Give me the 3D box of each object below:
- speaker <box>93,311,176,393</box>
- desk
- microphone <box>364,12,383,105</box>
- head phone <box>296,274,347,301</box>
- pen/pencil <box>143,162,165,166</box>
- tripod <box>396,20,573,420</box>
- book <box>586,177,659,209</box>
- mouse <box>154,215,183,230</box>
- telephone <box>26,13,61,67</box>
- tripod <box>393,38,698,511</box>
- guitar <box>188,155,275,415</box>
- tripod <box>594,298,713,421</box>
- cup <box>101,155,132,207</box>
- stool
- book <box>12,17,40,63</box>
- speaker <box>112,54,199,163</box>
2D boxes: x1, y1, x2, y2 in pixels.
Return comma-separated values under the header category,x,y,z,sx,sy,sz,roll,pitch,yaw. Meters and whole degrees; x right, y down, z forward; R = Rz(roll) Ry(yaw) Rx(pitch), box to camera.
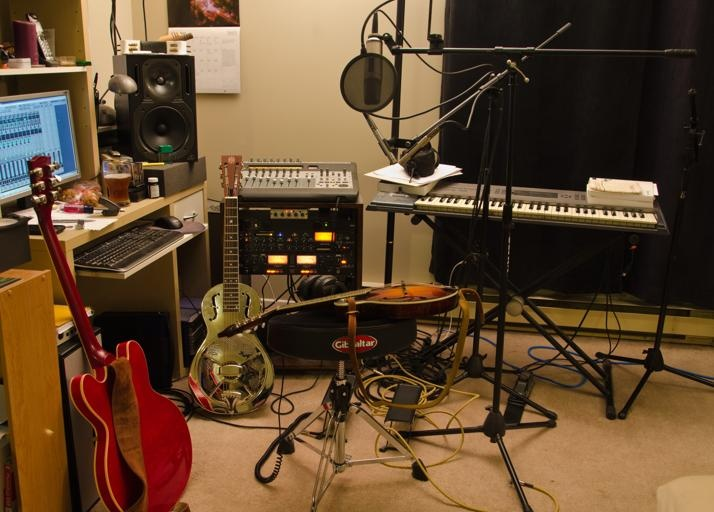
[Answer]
category,x,y,z,sx,sy,sz,roll,pitch,yaw
speaker,-1.058,0.439,3.054,0.395,0.429,0.137,-1,12,-5
desk,-1.146,0.131,3.001,0.285,0.643,0.919,0,13,5
microphone,0.086,-0.951,3.170,0.109,0.471,0.231,1,16,2
head phone,-0.184,0.156,3.177,0.201,0.107,0.217,6,17,19
pen/pencil,-1.091,-0.495,3.468,0.148,0.013,0.027,-3,43,-5
tripod,0.641,-0.169,3.271,0.879,1.983,1.544,5,17,18
book,1.354,-0.327,3.314,0.214,0.070,0.227,2,18,10
mouse,-0.966,-0.188,3.373,0.116,0.042,0.070,9,15,22
telephone,-1.504,-1.032,3.118,0.064,0.300,0.136,-2,12,13
tripod,1.033,0.053,3.432,1.603,2.150,1.585,7,21,20
guitar,-0.622,0.151,3.309,0.396,1.277,0.458,3,16,10
tripod,1.677,0.585,3.646,0.582,0.435,0.600,0,9,-11
cup,-1.211,-0.370,3.257,0.141,0.246,0.144,-3,9,0
stool,-0.055,0.548,2.990,0.717,0.878,0.847,-2,17,-24
book,-1.555,-0.994,3.048,0.083,0.221,0.106,30,36,12
speaker,-1.096,-0.870,3.622,0.395,0.620,0.402,3,25,-6
